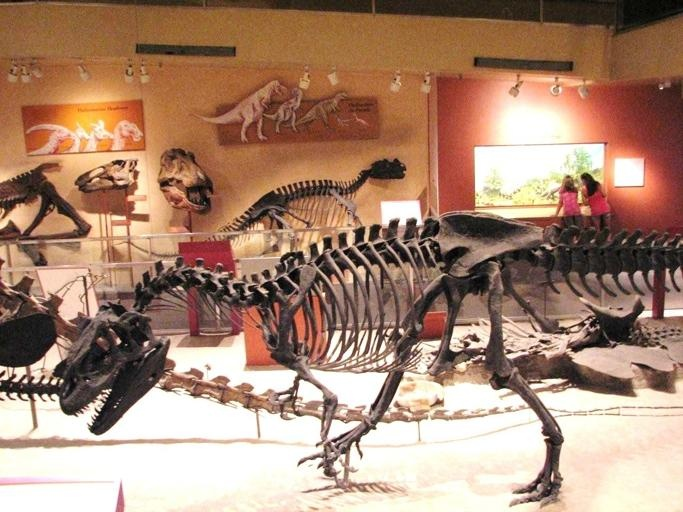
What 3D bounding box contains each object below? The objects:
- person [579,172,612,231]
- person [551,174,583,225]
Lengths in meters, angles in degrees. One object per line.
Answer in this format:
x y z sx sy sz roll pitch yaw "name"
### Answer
3.939 -0.763 9.356 0.353 1.078 0.347 -15 9 19 "person"
3.498 -0.843 9.363 0.377 0.798 0.617 0 6 19 "person"
